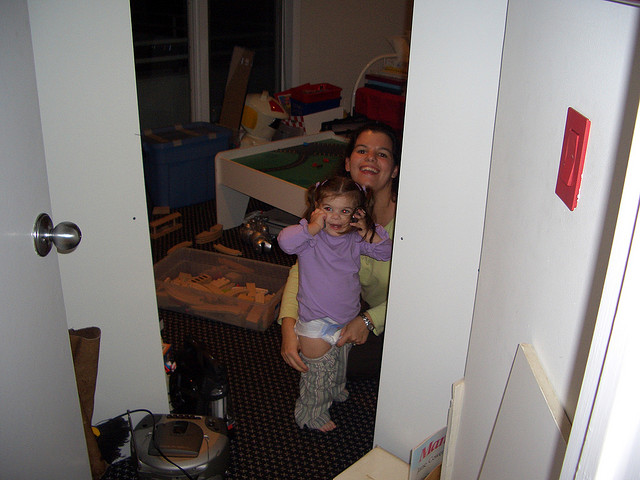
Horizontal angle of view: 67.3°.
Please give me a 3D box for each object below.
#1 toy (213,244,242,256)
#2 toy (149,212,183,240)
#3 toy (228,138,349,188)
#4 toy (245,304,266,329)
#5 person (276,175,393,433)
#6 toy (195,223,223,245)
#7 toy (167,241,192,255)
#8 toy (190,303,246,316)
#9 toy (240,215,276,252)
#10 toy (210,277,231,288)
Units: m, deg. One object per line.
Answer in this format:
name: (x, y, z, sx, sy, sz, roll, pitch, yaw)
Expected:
toy: (-0.582, 0.067, 3.020, 0.238, 0.030, 0.083, 16, 21, 40)
toy: (-1.024, -0.092, 3.209, 0.129, 0.138, 0.272, 9, 17, 24)
toy: (-0.076, -0.508, 3.065, 0.668, 0.186, 0.751, 16, 21, 39)
toy: (-0.313, 0.380, 2.352, 0.085, 0.096, 0.068, 8, 17, 22)
person: (0.045, 0.258, 1.762, 0.321, 0.964, 0.290, -15, 27, -36)
toy: (-0.708, -0.028, 3.144, 0.070, 0.087, 0.233, 12, 19, 32)
toy: (-0.845, 0.053, 2.991, 0.069, 0.020, 0.076, 15, 31, 31)
toy: (-0.512, 0.352, 2.378, 0.175, 0.047, 0.015, 5, -16, 10)
toy: (-0.367, -0.028, 3.045, 0.226, 0.160, 0.293, -8, 19, -32)
toy: (-0.523, 0.228, 2.557, 0.054, 0.020, 0.054, 8, 21, 18)
